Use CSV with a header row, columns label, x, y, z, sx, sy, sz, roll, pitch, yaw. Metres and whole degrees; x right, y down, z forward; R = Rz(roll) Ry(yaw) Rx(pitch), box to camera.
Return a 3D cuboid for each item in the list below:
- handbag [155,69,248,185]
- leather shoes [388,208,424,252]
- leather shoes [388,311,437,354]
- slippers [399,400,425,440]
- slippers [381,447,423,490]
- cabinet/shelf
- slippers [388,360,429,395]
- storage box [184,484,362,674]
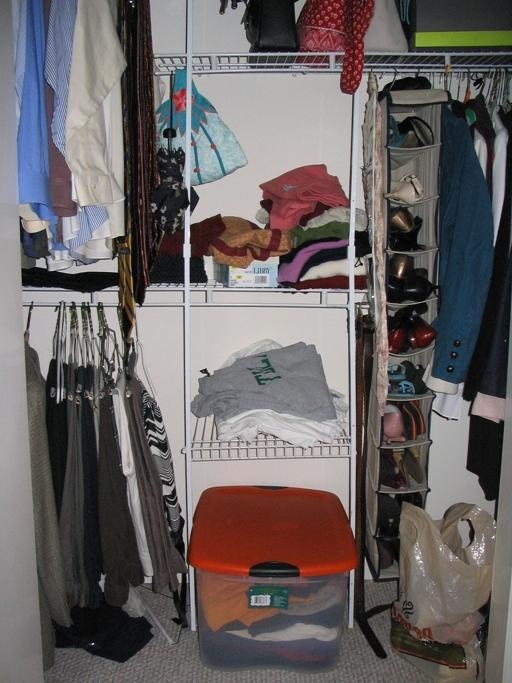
label,x,y,z,sx,sy,sz,roll,pitch,yaw
handbag,-0.152,-0.618,1.702,0.279,0.308,0.198,-6,15,-21
leather shoes,0.414,-0.310,1.623,0.117,0.118,0.073,-2,14,-8
leather shoes,0.435,-0.011,1.632,0.124,0.110,0.056,35,4,15
slippers,0.442,0.223,1.649,0.064,0.109,0.030,6,-8,5
slippers,0.417,0.349,1.641,0.105,0.132,0.039,-1,-9,-1
cabinet/shelf,0.026,-0.017,1.590,1.320,1.546,0.510,0,11,2
slippers,0.432,0.108,1.691,0.069,0.039,0.107,-1,16,8
storage box,0.042,0.673,1.636,0.430,0.363,0.392,0,14,0
